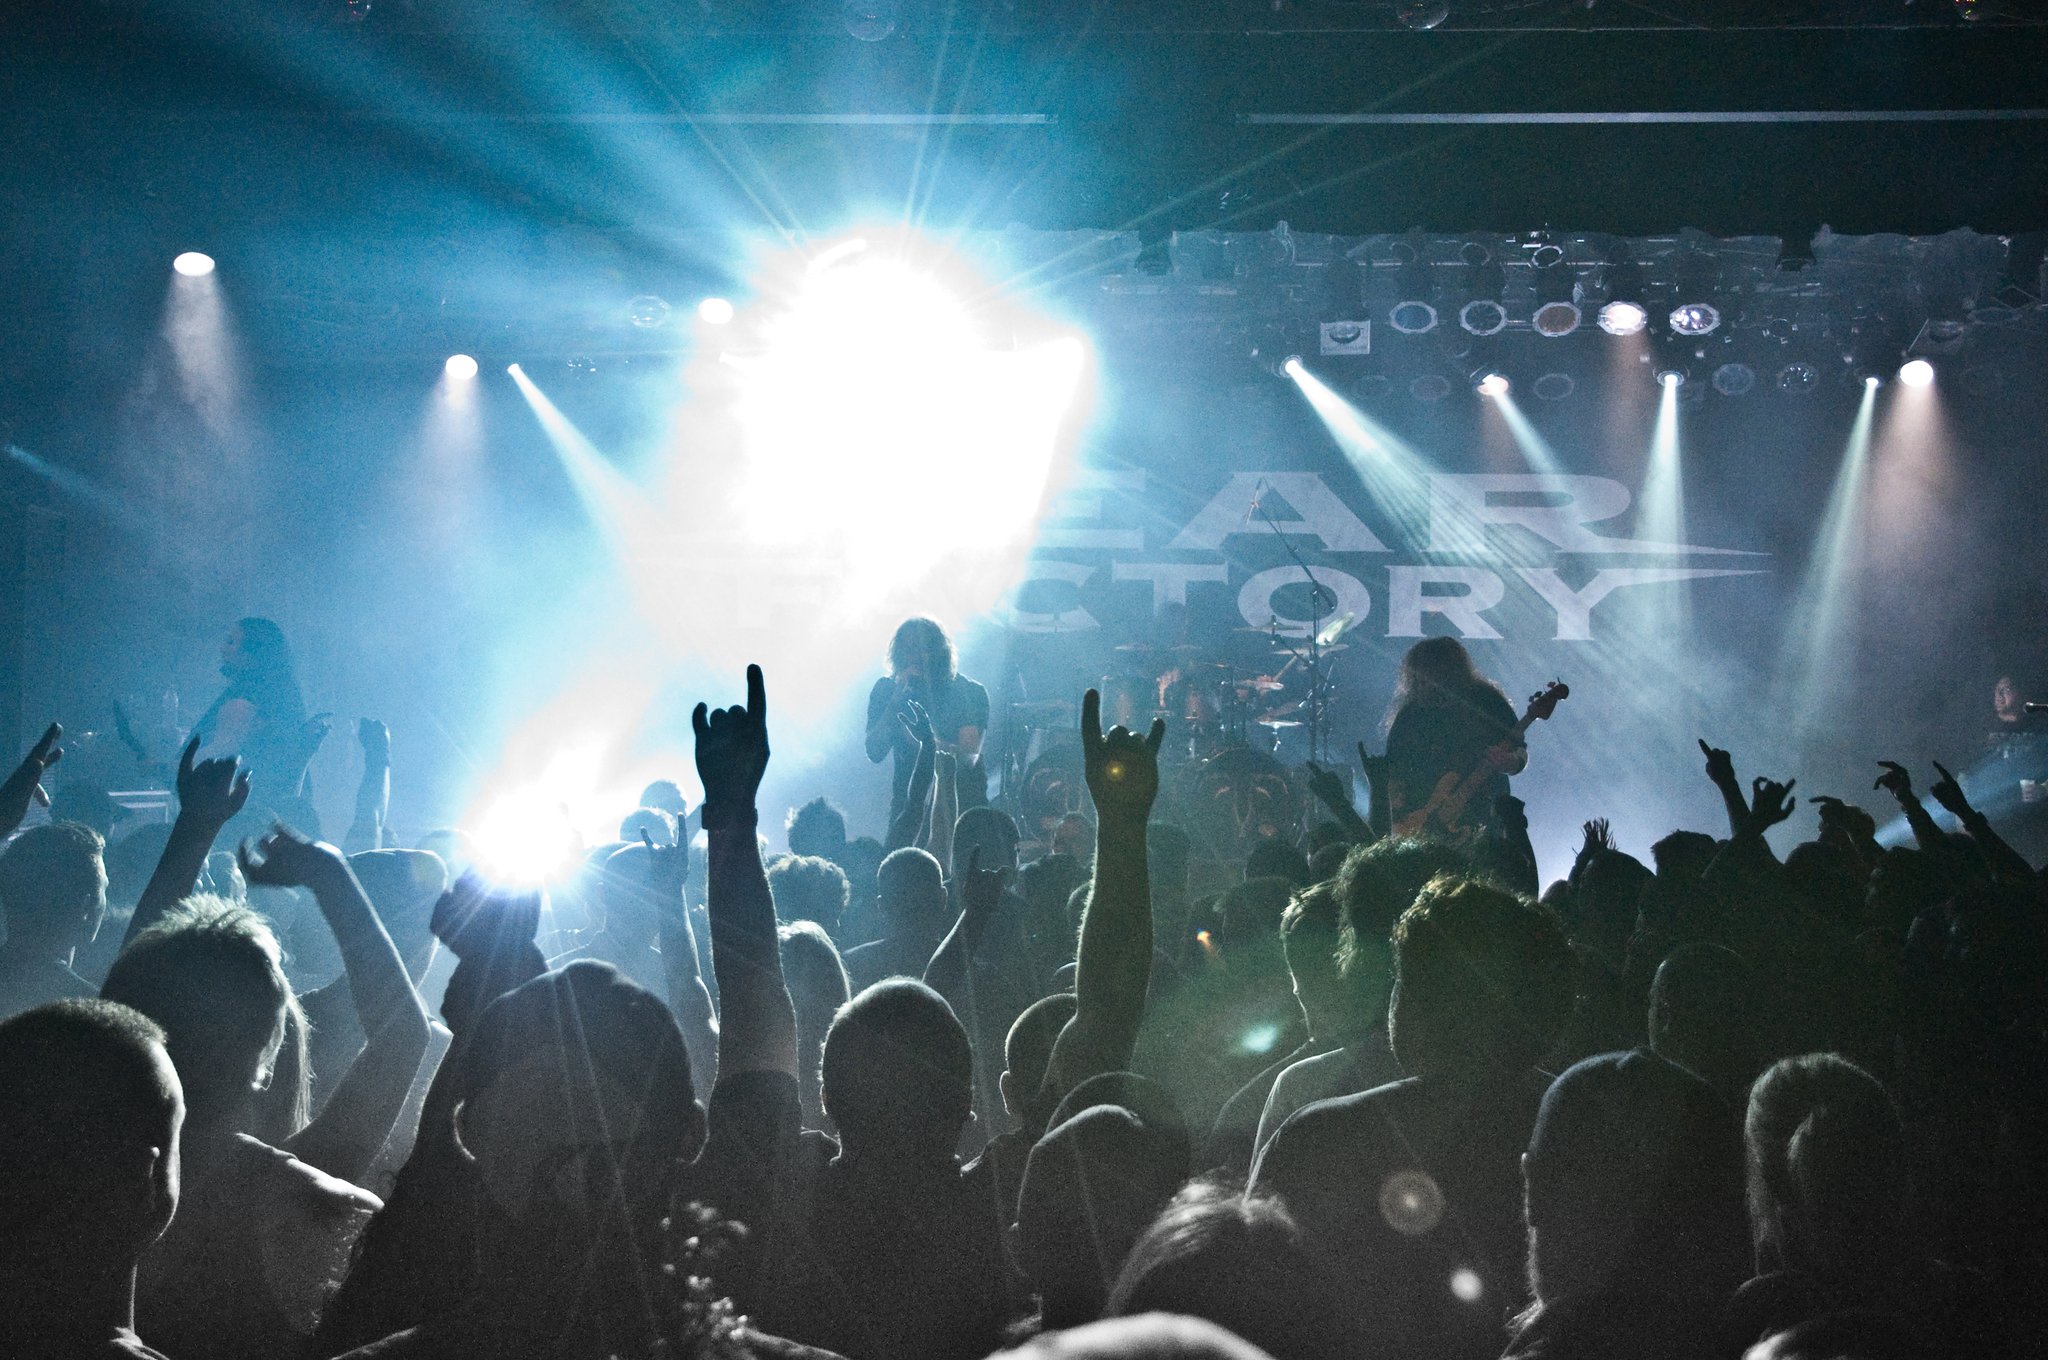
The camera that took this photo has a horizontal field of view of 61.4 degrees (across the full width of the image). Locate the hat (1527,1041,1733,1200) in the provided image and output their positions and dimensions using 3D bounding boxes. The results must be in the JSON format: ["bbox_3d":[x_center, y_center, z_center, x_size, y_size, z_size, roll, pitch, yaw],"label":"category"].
[{"bbox_3d":[2.254,1.623,6.505,0.856,0.580,0.571,7,-3,-28],"label":"hat"}]

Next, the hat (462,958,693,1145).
[{"bbox_3d":[-1.689,1.343,6.700,0.782,0.341,0.992,3,-21,33],"label":"hat"}]
